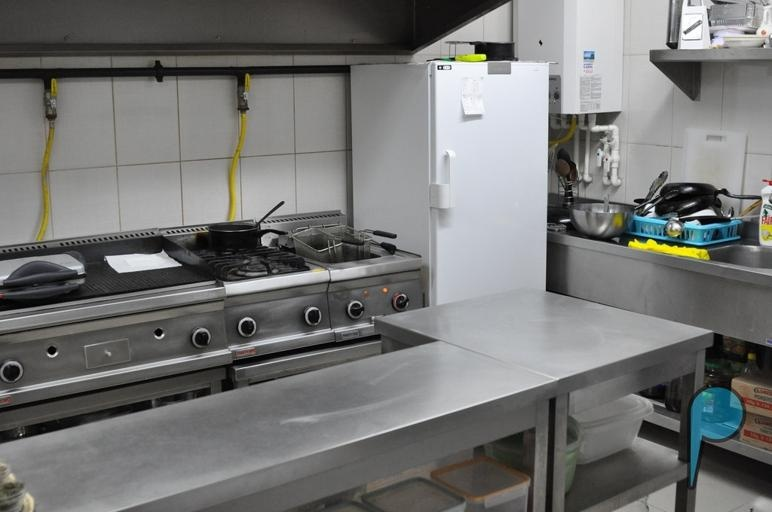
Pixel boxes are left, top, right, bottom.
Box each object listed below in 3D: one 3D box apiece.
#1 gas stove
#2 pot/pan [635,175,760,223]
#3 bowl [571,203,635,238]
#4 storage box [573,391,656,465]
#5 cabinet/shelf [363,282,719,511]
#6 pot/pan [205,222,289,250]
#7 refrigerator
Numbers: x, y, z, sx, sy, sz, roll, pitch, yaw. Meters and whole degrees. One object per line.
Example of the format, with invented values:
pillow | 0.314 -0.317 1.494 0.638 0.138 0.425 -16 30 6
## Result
gas stove | -0.610 0.167 2.810 0.475 0.414 0.622 -7 13 -33
pot/pan | 1.772 -0.312 3.283 0.513 0.200 0.361 3 7 30
bowl | 1.299 -0.205 3.415 0.371 0.177 0.375 0 16 0
storage box | 0.703 0.546 1.783 0.313 0.121 0.234 -8 6 -25
cabinet/shelf | 0.480 0.241 1.794 0.845 0.678 0.789 -11 19 -37
pot/pan | -0.785 -0.100 2.962 0.308 0.078 0.189 -1 9 -20
refrigerator | 0.447 -0.341 3.460 1.022 1.668 1.081 12 20 41
